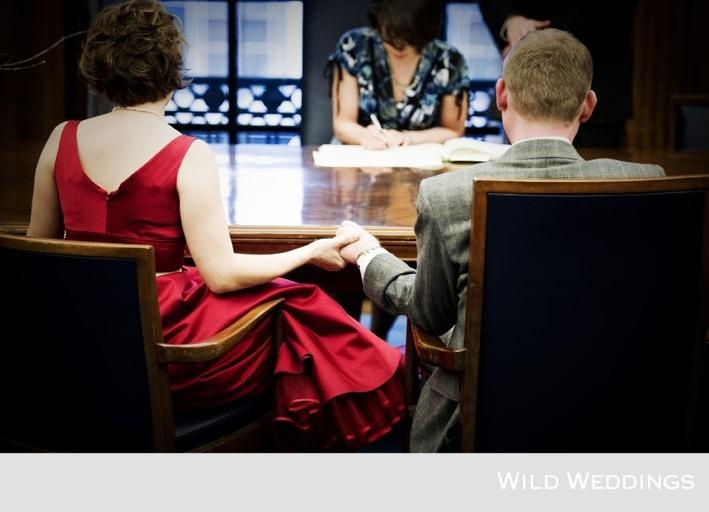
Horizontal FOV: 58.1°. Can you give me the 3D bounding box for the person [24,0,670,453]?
[{"bbox_3d":[-0.118,-0.080,2.085,1.631,1.314,0.833,-1,7,-36],"label":"person"}]
